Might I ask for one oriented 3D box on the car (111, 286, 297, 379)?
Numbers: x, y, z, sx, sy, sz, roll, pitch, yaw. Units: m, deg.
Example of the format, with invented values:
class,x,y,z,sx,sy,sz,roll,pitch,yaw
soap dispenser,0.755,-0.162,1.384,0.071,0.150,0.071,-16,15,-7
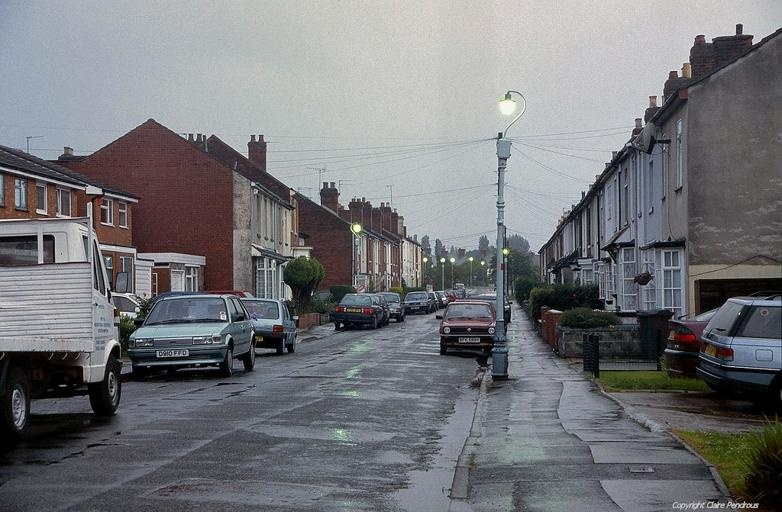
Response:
class,x,y,z,sx,sy,sz,roll,pitch,yaw
car,-5.112,2.082,23.523,1.943,2.296,3.530,-7,-6,44
